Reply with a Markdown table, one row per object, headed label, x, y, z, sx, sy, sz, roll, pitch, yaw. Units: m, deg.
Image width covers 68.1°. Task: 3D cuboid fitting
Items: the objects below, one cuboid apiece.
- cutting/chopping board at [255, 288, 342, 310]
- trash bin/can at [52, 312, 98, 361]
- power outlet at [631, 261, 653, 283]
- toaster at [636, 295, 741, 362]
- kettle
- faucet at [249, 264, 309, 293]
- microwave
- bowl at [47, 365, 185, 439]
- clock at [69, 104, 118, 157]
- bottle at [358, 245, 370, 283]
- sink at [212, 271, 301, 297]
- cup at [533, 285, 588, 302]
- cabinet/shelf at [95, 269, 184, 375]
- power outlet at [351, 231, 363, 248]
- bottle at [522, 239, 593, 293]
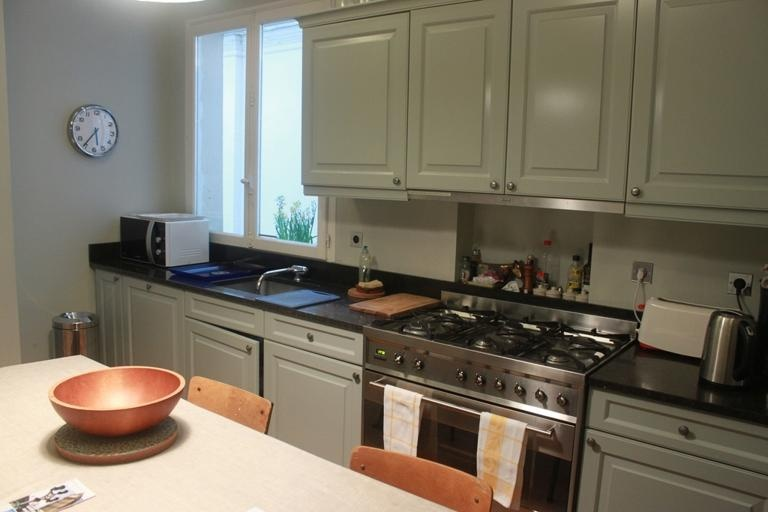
| label | x | y | z | sx | sy | sz | roll | pitch | yaw |
| --- | --- | --- | --- | --- | --- | --- | --- | --- | --- |
| cutting/chopping board | -0.543 | 0.267 | 3.700 | 0.426 | 0.023 | 0.490 | 7 | 11 | 35 |
| trash bin/can | -2.304 | 0.605 | 4.222 | 0.293 | 0.468 | 0.290 | -3 | 13 | -26 |
| power outlet | 1.414 | 0.084 | 3.098 | 0.108 | 0.114 | 0.029 | 5 | 10 | 24 |
| toaster | 1.518 | 0.365 | 2.883 | 0.183 | 0.244 | 0.355 | 6 | 3 | -34 |
| kettle | 1.553 | 0.419 | 2.550 | 0.197 | 0.317 | 0.149 | 7 | 11 | 35 |
| faucet | -0.722 | 0.156 | 4.082 | 0.174 | 0.160 | 0.425 | 3 | 9 | 25 |
| microwave | -1.818 | -0.126 | 4.564 | 0.709 | 0.373 | 0.332 | 3 | 10 | 13 |
| bowl | -1.081 | 0.598 | 2.294 | 0.487 | 0.161 | 0.508 | 4 | 7 | -1 |
| clock | -2.320 | -0.997 | 4.528 | 0.061 | 0.423 | 0.413 | 6 | 11 | 25 |
| bottle | -0.135 | 0.046 | 3.923 | 0.119 | 0.233 | 0.112 | 0 | 9 | 0 |
| sink | -0.893 | 0.186 | 4.119 | 0.287 | 0.204 | 0.289 | 6 | 7 | 38 |
| cup | 1.045 | 0.214 | 3.348 | 0.312 | 0.063 | 0.108 | 5 | 10 | 24 |
| cabinet/shelf | -1.764 | 0.470 | 4.153 | 0.687 | 0.658 | 0.290 | 5 | 7 | 37 |
| power outlet | -0.188 | -0.122 | 3.984 | 0.100 | 0.105 | 0.016 | 5 | 8 | 35 |
| bottle | 1.055 | 0.066 | 3.420 | 0.392 | 0.446 | 0.236 | 3 | 4 | 22 |
